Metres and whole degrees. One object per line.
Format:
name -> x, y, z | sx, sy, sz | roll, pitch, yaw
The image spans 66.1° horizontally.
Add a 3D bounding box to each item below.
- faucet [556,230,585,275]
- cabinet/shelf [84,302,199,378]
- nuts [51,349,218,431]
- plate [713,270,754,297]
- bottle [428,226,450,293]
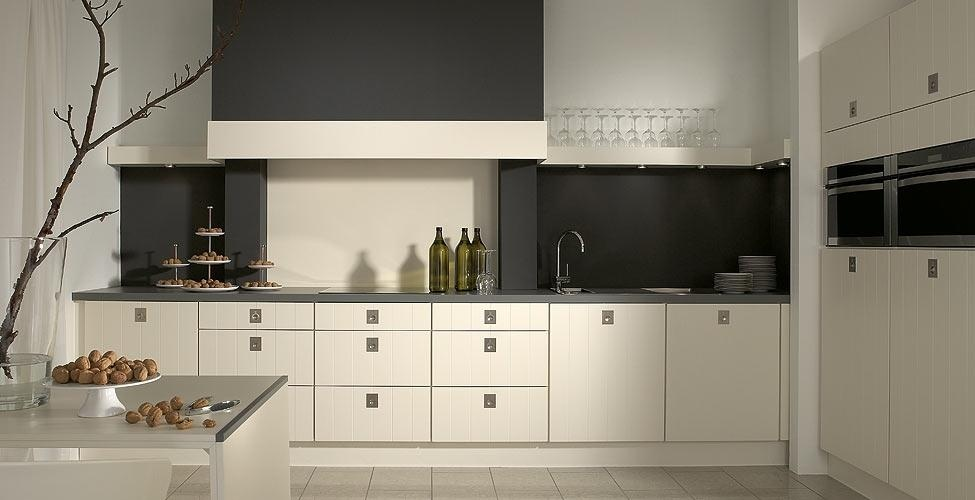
faucet -> 0.822, 0.032, 7.362 | 0.297, 0.457, 0.329 | -1, -1, 5
cabinet/shelf -> -3.164, 0.756, 7.162 | 1.465, 0.807, 0.672 | 0, -3, -1
nuts -> -2.349, 0.945, 5.147 | 0.942, 0.321, 0.580 | 3, -1, 3
plate -> 2.353, 0.322, 7.123 | 0.241, 0.108, 0.256 | 2, -3, -42
bottle -> -0.453, 0.092, 7.233 | 0.209, 0.624, 0.425 | -1, -1, -2
